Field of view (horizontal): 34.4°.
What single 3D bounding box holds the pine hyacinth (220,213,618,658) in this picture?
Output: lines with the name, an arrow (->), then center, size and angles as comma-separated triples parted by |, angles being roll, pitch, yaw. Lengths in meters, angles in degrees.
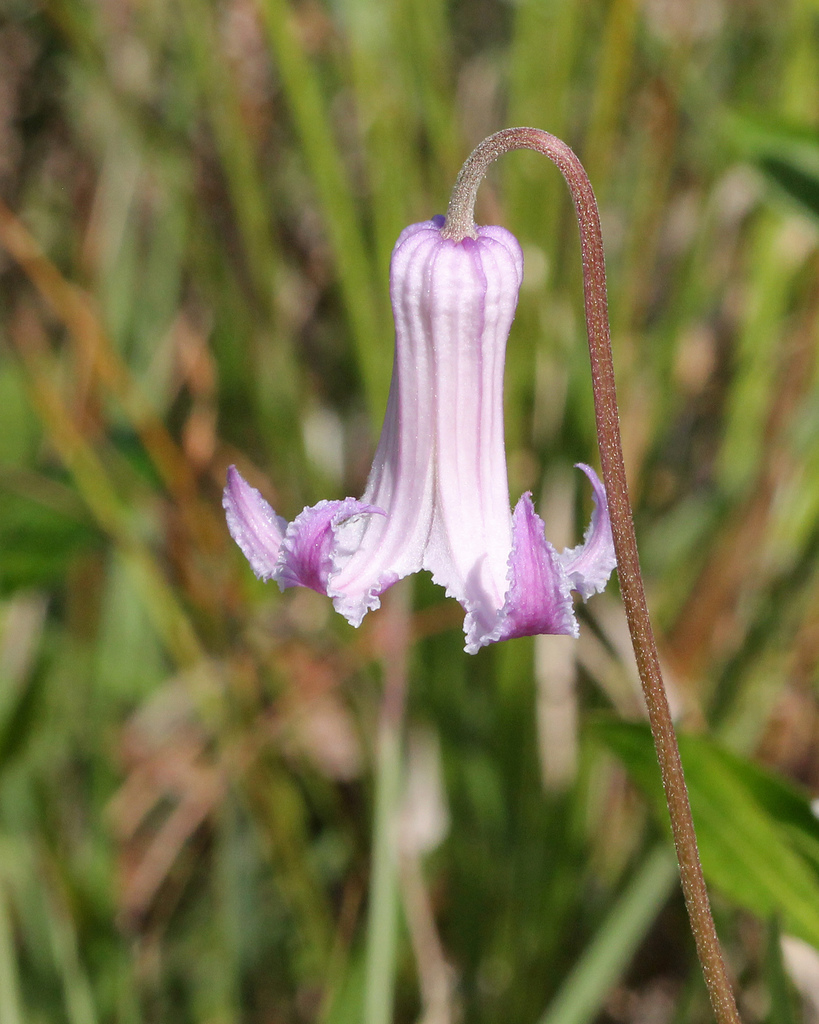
pine hyacinth -> 0.019, -0.079, 1.154 | 0.202, 0.333, 0.233 | 6, 8, 8
